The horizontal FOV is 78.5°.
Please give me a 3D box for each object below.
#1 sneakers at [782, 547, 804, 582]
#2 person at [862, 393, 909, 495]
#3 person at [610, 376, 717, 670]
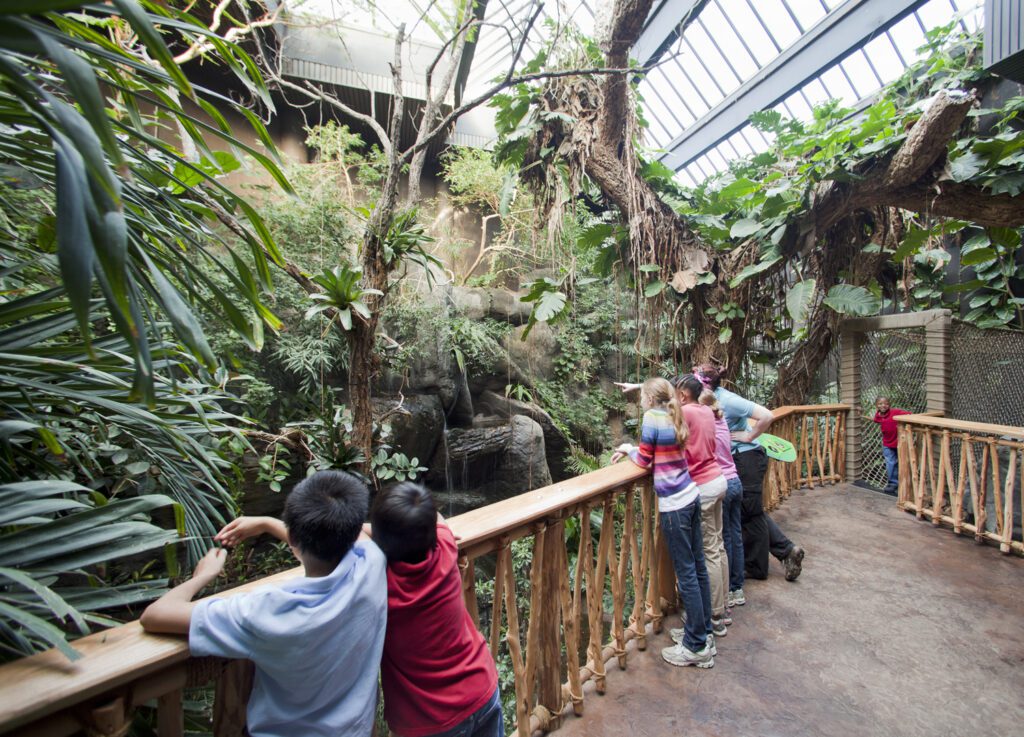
[{"bbox_3d":[2.121,1.443,4.678,0.111,0.325,0.153,-4,7,-7],"label":"sneakers"},{"bbox_3d":[4.323,0.883,7.197,0.304,1.086,1.399,3,7,30],"label":"person"},{"bbox_3d":[0.930,0.890,3.616,0.475,1.660,0.237,2,7,22],"label":"person"}]
